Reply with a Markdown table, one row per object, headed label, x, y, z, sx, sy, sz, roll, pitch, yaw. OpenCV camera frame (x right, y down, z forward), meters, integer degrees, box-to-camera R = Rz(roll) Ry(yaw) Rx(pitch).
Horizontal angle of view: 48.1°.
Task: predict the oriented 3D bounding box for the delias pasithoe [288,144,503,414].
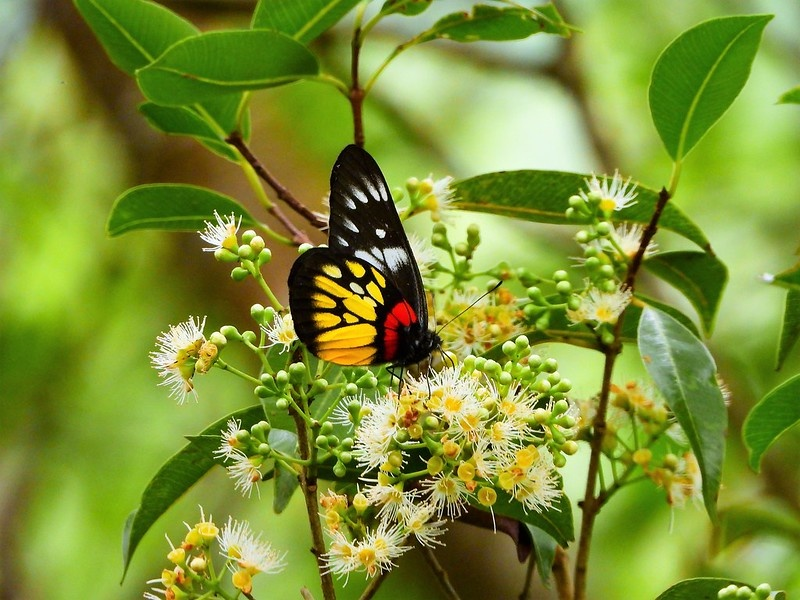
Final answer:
| label | x | y | z | sx | sy | sz | roll | pitch | yaw |
| --- | --- | --- | --- | --- | --- | --- | --- | --- | --- |
| delias pasithoe | -0.025 | -0.094 | 2.042 | 0.462 | 0.500 | 0.367 | 0 | 12 | -15 |
